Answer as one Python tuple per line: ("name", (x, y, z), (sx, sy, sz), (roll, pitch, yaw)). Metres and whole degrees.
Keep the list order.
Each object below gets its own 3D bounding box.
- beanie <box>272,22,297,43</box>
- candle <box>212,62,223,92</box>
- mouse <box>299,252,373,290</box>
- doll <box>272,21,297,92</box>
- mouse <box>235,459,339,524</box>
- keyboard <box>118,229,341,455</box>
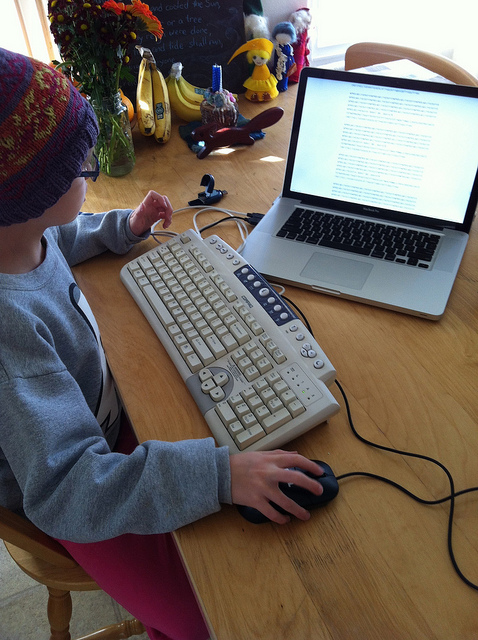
("beanie", (0.139, -0.854, 1.454), (0.076, 0.051, 0.082), (-5, 38, -9))
("candle", (-0.054, -0.583, 1.182), (0.026, 0.062, 0.049), (1, 38, 0))
("mouse", (0.165, -0.083, 0.822), (0.098, 0.004, 0.063), (16, 51, 25))
("doll", (0.137, -0.786, 1.461), (0.076, 0.183, 0.061), (3, 43, 4))
("mouse", (0.053, 0.187, 0.542), (0.112, 0.029, 0.064), (-17, 32, -7))
("keyboard", (-0.028, 0.007, 0.737), (0.186, 0.081, 0.431), (-22, 49, -16))
